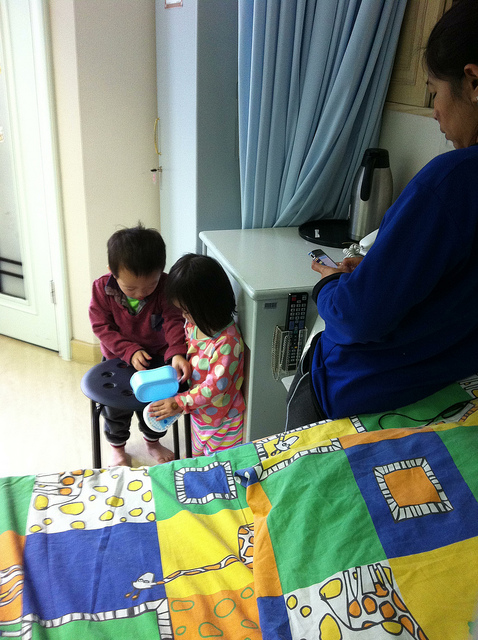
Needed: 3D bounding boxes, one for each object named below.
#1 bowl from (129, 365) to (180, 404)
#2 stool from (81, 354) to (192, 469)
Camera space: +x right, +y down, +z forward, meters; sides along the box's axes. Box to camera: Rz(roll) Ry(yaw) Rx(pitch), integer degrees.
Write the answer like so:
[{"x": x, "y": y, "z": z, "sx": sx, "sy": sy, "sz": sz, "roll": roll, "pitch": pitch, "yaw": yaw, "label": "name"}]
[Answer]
[{"x": -0.236, "y": 0.187, "z": 1.362, "sx": 0.093, "sy": 0.091, "sz": 0.038, "roll": -6, "pitch": 43, "yaw": -15, "label": "bowl"}, {"x": -0.330, "y": 0.329, "z": 1.562, "sx": 0.299, "sy": 0.452, "sz": 0.277, "roll": -2, "pitch": 23, "yaw": -9, "label": "stool"}]
